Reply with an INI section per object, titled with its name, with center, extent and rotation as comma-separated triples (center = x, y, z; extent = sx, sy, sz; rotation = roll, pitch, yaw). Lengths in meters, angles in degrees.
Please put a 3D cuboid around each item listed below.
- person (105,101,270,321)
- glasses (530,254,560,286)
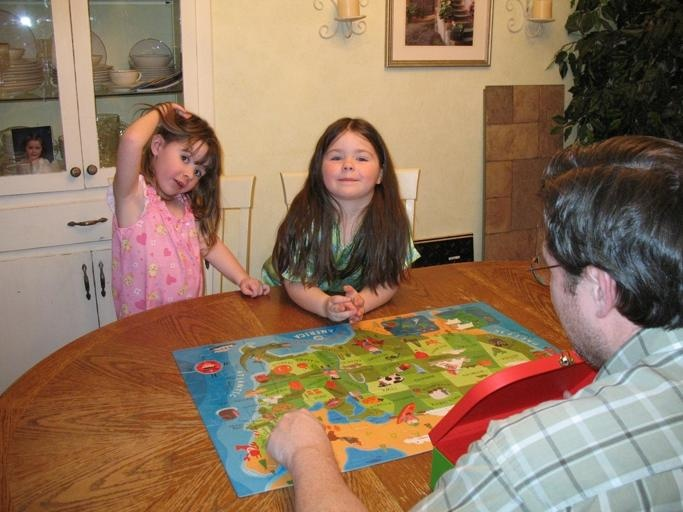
[person]
center = -0.663, 0.101, 2.043
extent = 0.452, 1.397, 0.469
rotation = 31, 29, 35
[glasses]
center = 0.379, 0.025, 0.948
extent = 0.063, 0.024, 0.067
rotation = -8, 13, -7
